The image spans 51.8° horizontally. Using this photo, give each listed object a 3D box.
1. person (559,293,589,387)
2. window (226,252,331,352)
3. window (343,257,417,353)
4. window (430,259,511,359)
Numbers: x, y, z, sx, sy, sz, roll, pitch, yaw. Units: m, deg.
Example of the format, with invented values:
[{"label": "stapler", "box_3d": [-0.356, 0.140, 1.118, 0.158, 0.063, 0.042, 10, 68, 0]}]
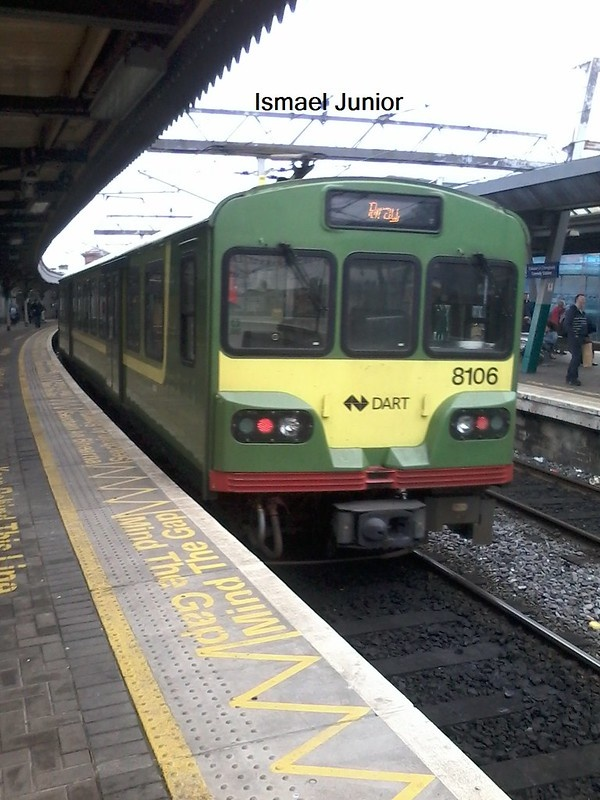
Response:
[{"label": "person", "box_3d": [6.470, -1.368, 14.507, 0.548, 2.085, 1.112, -4, 8, 23]}, {"label": "window", "box_3d": [-0.213, -0.791, 4.921, 0.894, 0.751, 0.068, 0, 7, -8]}, {"label": "window", "box_3d": [0.679, -0.775, 5.159, 0.704, 0.854, 0.104, 6, 10, 30]}, {"label": "window", "box_3d": [1.437, -0.803, 5.315, 0.885, 0.787, 0.468, 2, 5, -9]}]
